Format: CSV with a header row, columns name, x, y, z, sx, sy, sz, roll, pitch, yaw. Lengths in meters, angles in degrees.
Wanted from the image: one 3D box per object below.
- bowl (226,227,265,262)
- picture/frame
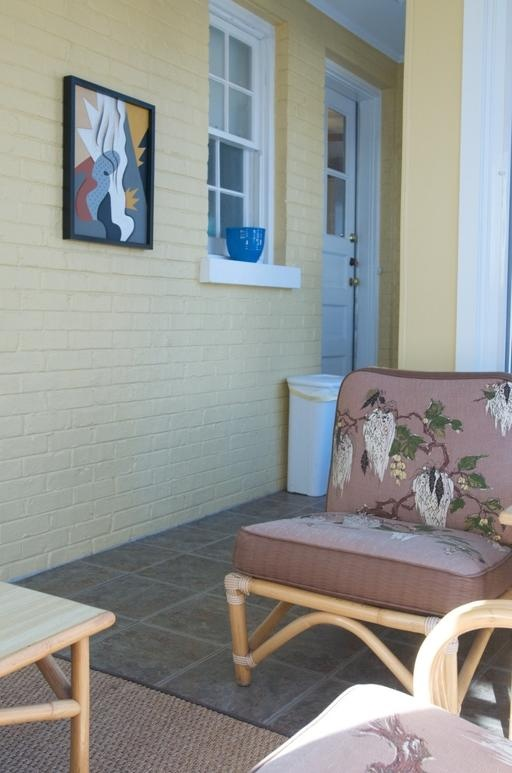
name,x,y,z,sx,sy,sz,roll,pitch,yaw
bowl,-0.048,-0.804,3.412,0.218,0.187,0.206,-1,4,0
picture/frame,-0.614,-0.929,2.529,0.049,0.683,0.493,3,3,32
